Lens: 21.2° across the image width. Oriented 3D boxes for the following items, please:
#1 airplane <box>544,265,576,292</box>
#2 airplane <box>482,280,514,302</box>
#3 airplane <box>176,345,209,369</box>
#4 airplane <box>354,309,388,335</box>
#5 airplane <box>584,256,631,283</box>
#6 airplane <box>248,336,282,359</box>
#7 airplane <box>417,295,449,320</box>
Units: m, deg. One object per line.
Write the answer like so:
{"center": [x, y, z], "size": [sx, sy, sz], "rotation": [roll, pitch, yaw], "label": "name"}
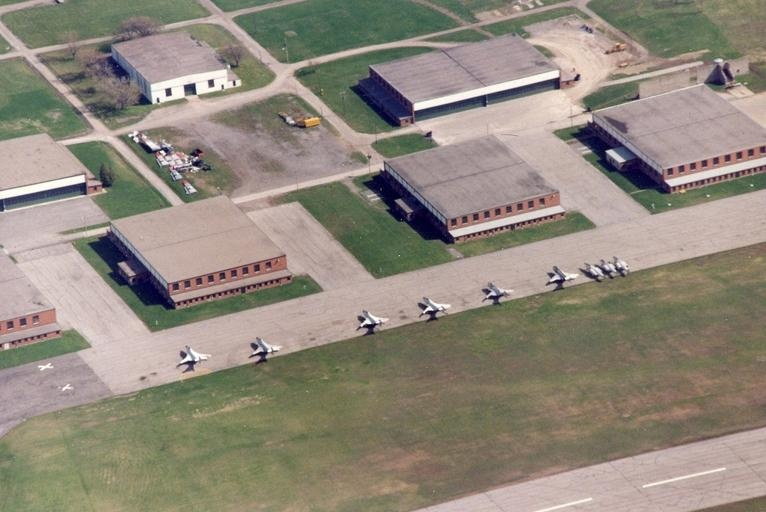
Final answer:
{"center": [37.150, 4.861, 436.389], "size": [5.944, 2.489, 5.101], "rotation": [2, 51, 3], "label": "airplane"}
{"center": [23.774, 8.017, 434.775], "size": [5.228, 1.497, 4.482], "rotation": [-8, 26, -25], "label": "airplane"}
{"center": [-39.843, 20.769, 424.615], "size": [5.810, 2.015, 5.923], "rotation": [37, 60, 28], "label": "airplane"}
{"center": [-3.532, 14.596, 431.497], "size": [6.220, 1.719, 4.783], "rotation": [19, 56, 21], "label": "airplane"}
{"center": [46.917, 3.774, 439.660], "size": [6.941, 1.858, 6.581], "rotation": [-13, 25, -13], "label": "airplane"}
{"center": [-24.522, 19.279, 425.479], "size": [5.968, 2.183, 4.561], "rotation": [4, 51, 4], "label": "airplane"}
{"center": [9.938, 11.227, 432.122], "size": [6.243, 1.792, 5.175], "rotation": [-4, 28, -19], "label": "airplane"}
